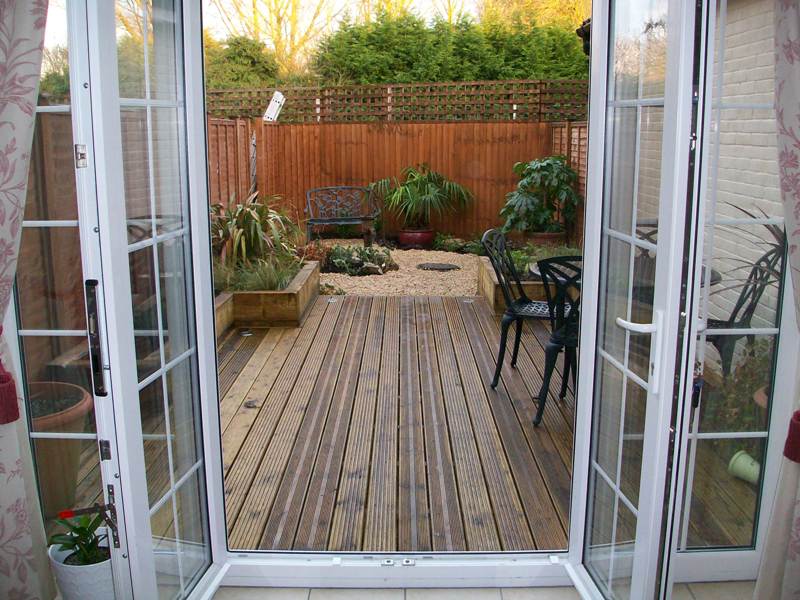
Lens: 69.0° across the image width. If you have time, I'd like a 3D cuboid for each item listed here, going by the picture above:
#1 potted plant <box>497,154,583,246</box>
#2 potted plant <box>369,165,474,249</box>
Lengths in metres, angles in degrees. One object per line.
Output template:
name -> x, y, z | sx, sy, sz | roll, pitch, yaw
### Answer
potted plant -> 2.033, -1.378, 8.319 | 1.011, 1.366, 1.000 | -2, 7, 4
potted plant -> 0.332, -1.557, 9.498 | 1.560, 1.296, 0.755 | -2, 13, -1
